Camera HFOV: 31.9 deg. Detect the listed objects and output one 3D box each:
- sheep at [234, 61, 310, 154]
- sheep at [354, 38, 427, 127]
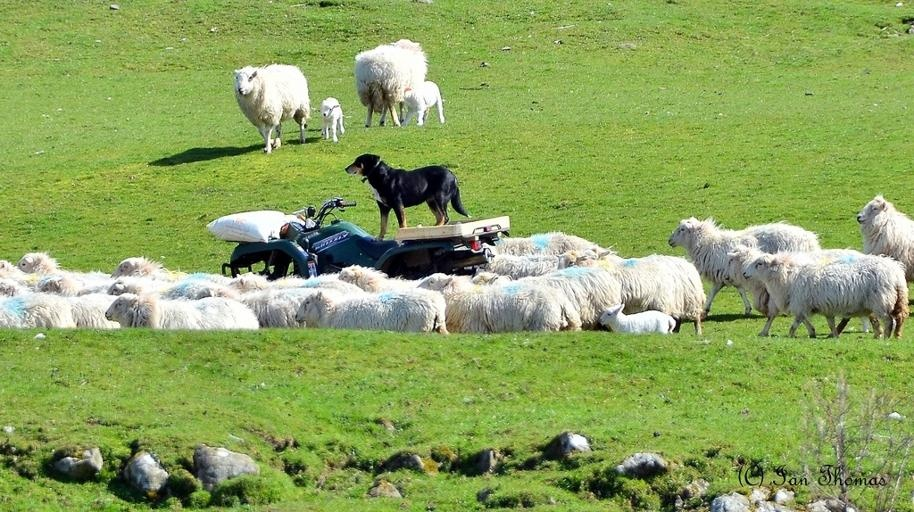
[{"bbox_3d":[-8.193,-6.372,69.763,2.394,3.281,5.072,-2,4,19],"label":"sheep"},{"bbox_3d":[-3.003,-7.632,71.270,2.940,3.759,2.065,-4,11,-12],"label":"sheep"}]
